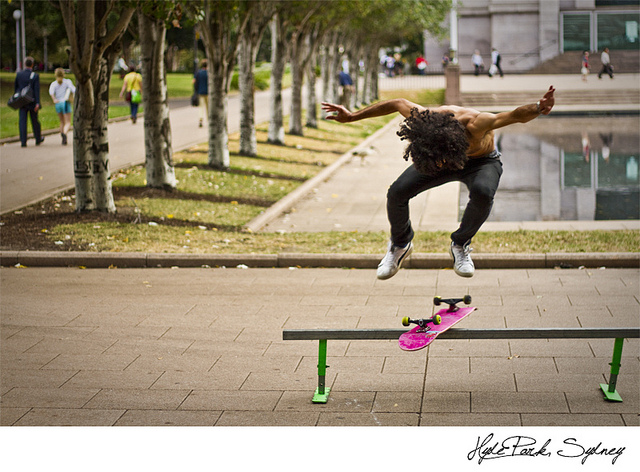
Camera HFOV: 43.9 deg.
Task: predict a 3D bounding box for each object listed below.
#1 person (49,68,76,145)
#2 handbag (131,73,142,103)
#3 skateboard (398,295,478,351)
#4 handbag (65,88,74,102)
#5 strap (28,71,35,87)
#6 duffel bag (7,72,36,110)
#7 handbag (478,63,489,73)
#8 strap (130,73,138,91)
[{"bbox_3d":[-7.716,-3.880,23.998,0.673,2.352,1.321,-9,16,-22],"label":"person"},{"bbox_3d":[-6.474,-5.123,27.815,0.255,0.871,0.610,-4,-3,-35],"label":"handbag"},{"bbox_3d":[1.398,0.877,9.345,0.406,0.302,1.542,-4,16,32],"label":"skateboard"},{"bbox_3d":[-7.575,-4.277,24.075,0.231,0.443,0.725,-6,15,-11],"label":"handbag"},{"bbox_3d":[-8.074,-4.402,22.249,0.078,0.307,0.217,9,0,-9],"label":"strap"},{"bbox_3d":[-8.365,-4.098,22.483,1.046,1.019,0.378,5,16,26],"label":"duffel bag"},{"bbox_3d":[11.435,-11.839,55.810,0.566,0.710,1.948,4,26,13],"label":"handbag"},{"bbox_3d":[-6.383,-5.226,27.208,0.104,0.706,0.101,21,3,-13],"label":"strap"}]
